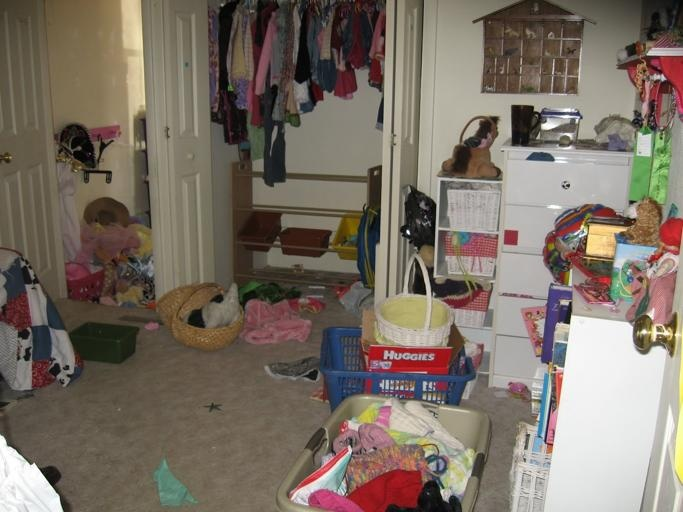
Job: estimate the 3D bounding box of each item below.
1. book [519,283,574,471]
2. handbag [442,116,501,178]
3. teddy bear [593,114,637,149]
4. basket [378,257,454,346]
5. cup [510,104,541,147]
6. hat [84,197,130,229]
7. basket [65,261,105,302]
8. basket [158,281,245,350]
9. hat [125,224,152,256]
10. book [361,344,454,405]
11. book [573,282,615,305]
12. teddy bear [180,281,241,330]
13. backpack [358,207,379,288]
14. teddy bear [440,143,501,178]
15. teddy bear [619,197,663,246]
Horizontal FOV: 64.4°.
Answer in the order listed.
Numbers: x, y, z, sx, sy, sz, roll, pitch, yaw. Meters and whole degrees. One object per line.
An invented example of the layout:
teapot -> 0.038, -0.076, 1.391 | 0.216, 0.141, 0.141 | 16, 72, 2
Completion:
book -> 0.855, 0.478, 2.259 | 0.232, 0.702, 0.669 | 5, 8, 19
handbag -> 0.820, -0.719, 3.558 | 0.389, 0.476, 0.394 | -11, 20, -29
teddy bear -> 1.608, -0.728, 3.197 | 0.200, 0.198, 0.423 | 6, 14, 23
basket -> 0.357, 0.285, 2.850 | 0.429, 0.479, 0.411 | 0, 20, -9
cup -> 1.114, -0.786, 3.257 | 0.178, 0.234, 0.179 | 0, 13, 0
hat -> -2.124, -0.394, 4.950 | 0.403, 0.269, 0.203 | -11, 17, -39
basket -> -2.089, 0.191, 4.479 | 0.228, 0.326, 0.317 | -8, 20, -40
basket -> -1.011, 0.419, 3.768 | 0.498, 0.227, 0.448 | 20, 38, 23
hat -> -1.752, -0.145, 4.721 | 0.273, 0.329, 0.143 | 8, -23, -38
book -> 0.340, 0.577, 2.690 | 0.349, 0.243, 0.246 | 3, -2, -1
book -> 0.844, 0.126, 1.811 | 0.066, 0.023, 0.093 | -4, 26, 6
teddy bear -> -0.867, 0.324, 3.686 | 0.344, 0.277, 0.254 | 0, 4, 31
backpack -> 0.217, -0.049, 4.374 | 0.146, 0.671, 0.352 | -4, 14, -16
teddy bear -> 0.809, -0.585, 3.419 | 0.304, 0.185, 0.195 | 5, 5, 4
teddy bear -> 1.020, -0.125, 1.831 | 0.121, 0.065, 0.175 | -5, 54, 29
